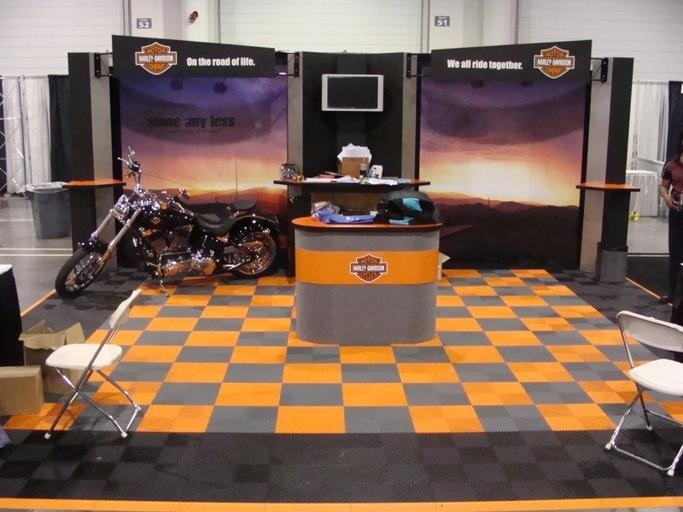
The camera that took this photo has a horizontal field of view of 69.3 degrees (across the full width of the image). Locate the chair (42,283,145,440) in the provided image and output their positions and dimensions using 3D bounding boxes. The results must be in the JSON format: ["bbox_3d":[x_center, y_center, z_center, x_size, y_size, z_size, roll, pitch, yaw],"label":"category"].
[{"bbox_3d":[-2.228,0.965,4.438,1.068,1.341,0.829,6,9,-6],"label":"chair"}]

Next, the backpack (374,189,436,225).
[{"bbox_3d":[0.728,-0.534,5.349,0.713,0.310,0.443,3,10,10],"label":"backpack"}]

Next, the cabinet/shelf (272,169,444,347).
[{"bbox_3d":[0.247,-0.013,5.976,1.851,1.284,2.135,0,4,-1],"label":"cabinet/shelf"}]
